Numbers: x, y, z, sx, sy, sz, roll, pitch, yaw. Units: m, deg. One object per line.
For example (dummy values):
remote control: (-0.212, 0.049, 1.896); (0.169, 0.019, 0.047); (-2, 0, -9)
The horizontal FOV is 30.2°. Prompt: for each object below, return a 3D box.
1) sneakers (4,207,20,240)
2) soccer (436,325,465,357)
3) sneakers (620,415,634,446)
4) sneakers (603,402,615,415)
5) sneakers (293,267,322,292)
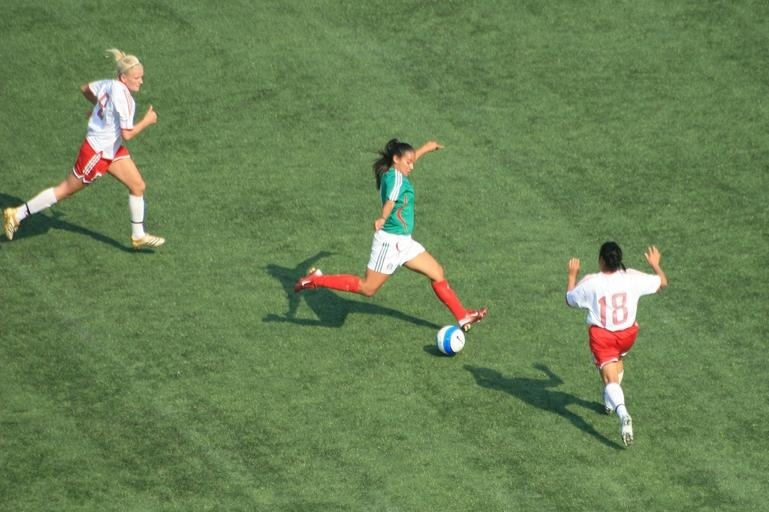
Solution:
sneakers: (-6.561, -0.614, 25.173); (0.277, 0.243, 0.675); (11, 104, 21)
soccer: (1.129, 1.431, 24.416); (0.456, 0.496, 0.506); (2, 97, 29)
sneakers: (3.995, 2.887, 23.357); (0.213, 0.235, 0.545); (0, 83, -8)
sneakers: (3.739, 2.556, 23.755); (0.163, 0.182, 0.144); (-45, 115, 3)
sneakers: (-1.323, 0.430, 24.775); (0.223, 0.289, 0.536); (45, 93, 5)
